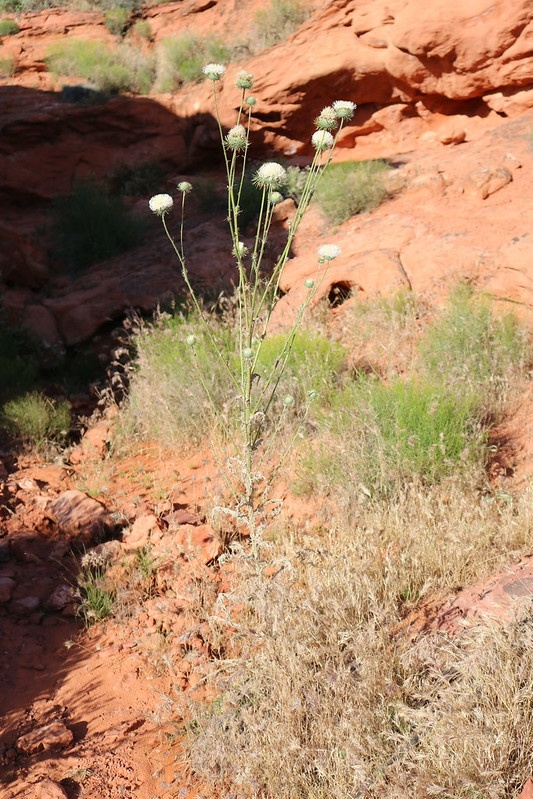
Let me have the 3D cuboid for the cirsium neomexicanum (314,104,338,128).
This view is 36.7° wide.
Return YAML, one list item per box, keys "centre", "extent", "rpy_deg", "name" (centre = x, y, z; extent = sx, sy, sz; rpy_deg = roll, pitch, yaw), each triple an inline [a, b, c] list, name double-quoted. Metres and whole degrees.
- centre: [0.264, -1.259, 3.595]
  extent: [0.096, 0.105, 0.068]
  rpy_deg: [23, 24, -6]
  name: "cirsium neomexicanum"
